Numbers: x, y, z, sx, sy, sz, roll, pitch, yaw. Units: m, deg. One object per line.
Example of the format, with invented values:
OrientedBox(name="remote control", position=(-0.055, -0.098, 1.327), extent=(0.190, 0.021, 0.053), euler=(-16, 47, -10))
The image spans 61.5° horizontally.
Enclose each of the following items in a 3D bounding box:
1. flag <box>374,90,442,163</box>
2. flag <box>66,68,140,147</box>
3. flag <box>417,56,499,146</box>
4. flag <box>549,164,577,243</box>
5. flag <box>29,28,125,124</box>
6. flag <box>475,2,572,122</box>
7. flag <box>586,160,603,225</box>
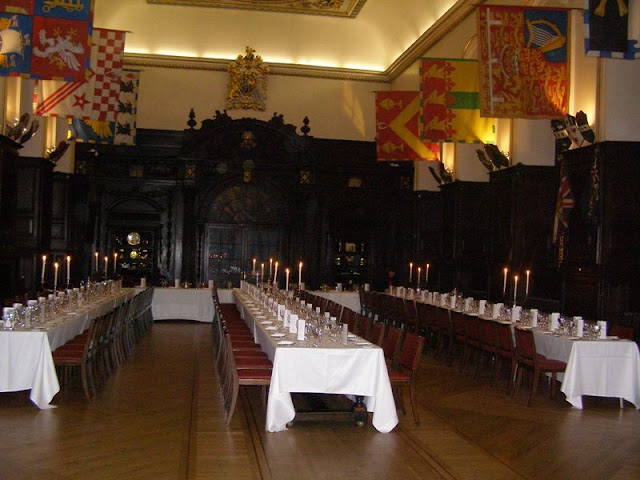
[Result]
OrientedBox(name="flag", position=(2.231, -2.892, 13.579), extent=(1.732, 2.074, 0.249), euler=(-1, 16, 0))
OrientedBox(name="flag", position=(-5.379, -3.295, 13.304), extent=(1.746, 2.214, 0.062), euler=(-16, 49, -39))
OrientedBox(name="flag", position=(2.904, -2.926, 11.284), extent=(1.901, 2.389, 0.116), euler=(-2, 6, -6))
OrientedBox(name="flag", position=(4.670, -0.747, 10.303), extent=(0.281, 1.504, 0.461), euler=(2, 7, 6))
OrientedBox(name="flag", position=(-4.925, -3.461, 11.015), extent=(1.631, 2.178, 0.039), euler=(-1, -14, -15))
OrientedBox(name="flag", position=(3.591, -3.117, 9.415), extent=(1.910, 2.563, 0.154), euler=(-1, 7, -3))
OrientedBox(name="flag", position=(4.923, -0.889, 9.616), extent=(0.104, 1.218, 0.291), euler=(1, 7, -1))
